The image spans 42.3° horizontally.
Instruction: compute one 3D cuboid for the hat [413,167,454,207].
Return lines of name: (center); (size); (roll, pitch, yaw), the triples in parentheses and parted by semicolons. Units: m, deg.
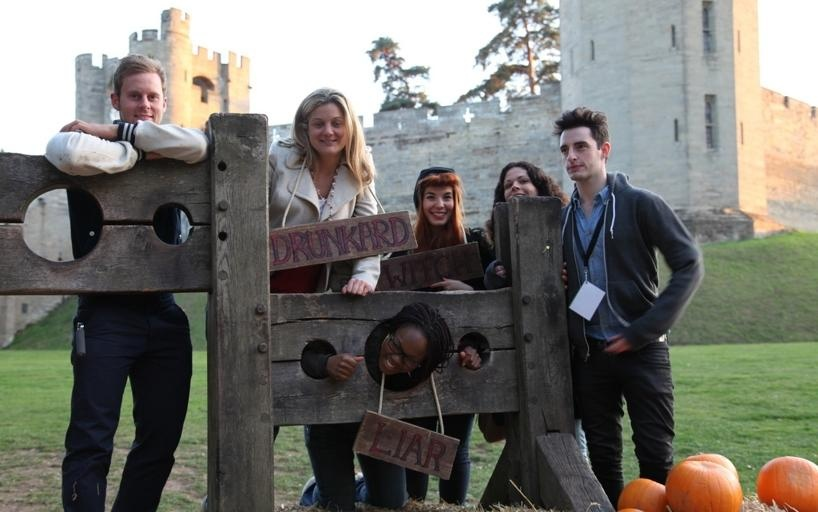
hat: (0.281, -1.001, 14.161); (0.529, 0.342, 0.525); (7, 4, 35)
